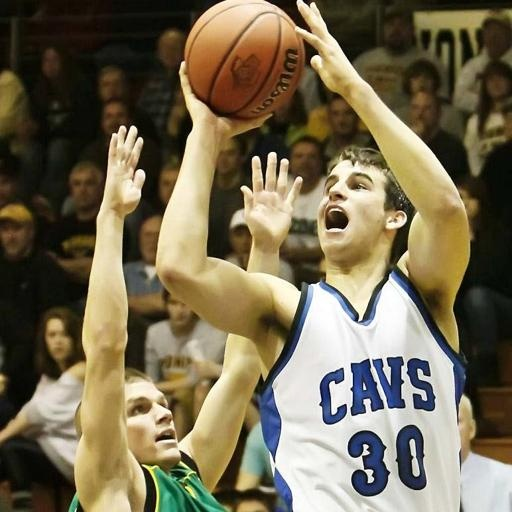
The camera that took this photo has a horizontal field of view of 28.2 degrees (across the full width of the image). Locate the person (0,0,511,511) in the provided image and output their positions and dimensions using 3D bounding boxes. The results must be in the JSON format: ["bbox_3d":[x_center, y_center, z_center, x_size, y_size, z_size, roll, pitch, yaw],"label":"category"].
[{"bbox_3d":[0.230,-0.002,3.591,1.010,1.788,0.654,-1,8,13],"label":"person"}]
